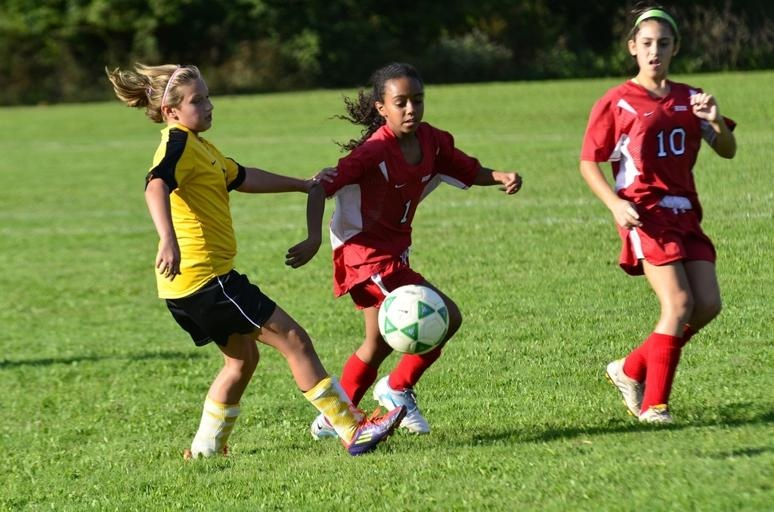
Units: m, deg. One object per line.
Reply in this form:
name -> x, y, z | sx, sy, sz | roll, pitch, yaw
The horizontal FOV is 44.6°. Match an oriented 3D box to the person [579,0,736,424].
person -> 2.165, -0.353, 7.269 | 1.082, 3.034, 0.900 | -12, 16, -26

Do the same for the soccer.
soccer -> 0.268, 0.544, 7.235 | 0.494, 0.524, 0.532 | -3, 4, 28

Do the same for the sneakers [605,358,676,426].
sneakers -> 1.965, 1.145, 7.344 | 0.263, 0.626, 0.225 | -40, -3, 40
